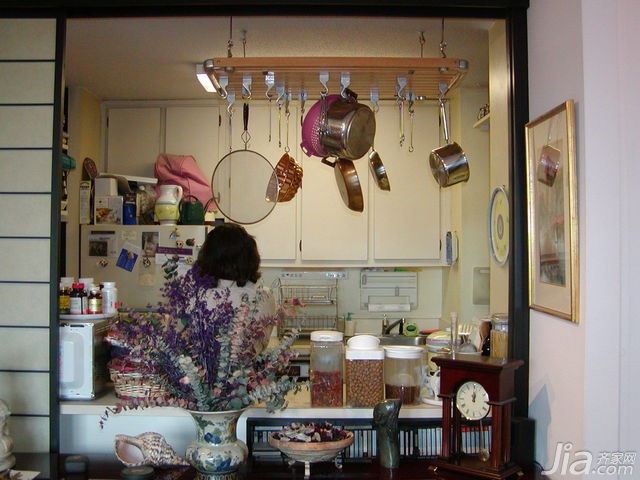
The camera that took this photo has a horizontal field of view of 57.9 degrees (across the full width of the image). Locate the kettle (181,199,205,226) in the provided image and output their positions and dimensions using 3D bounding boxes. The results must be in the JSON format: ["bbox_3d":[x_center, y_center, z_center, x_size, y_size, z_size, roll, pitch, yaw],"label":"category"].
[{"bbox_3d":[-0.828,-0.176,3.794,0.165,0.195,0.110,-2,3,-25],"label":"kettle"}]

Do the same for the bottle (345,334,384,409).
[{"bbox_3d":[0.185,0.548,2.414,0.158,0.294,0.190,-1,-8,6],"label":"bottle"}]

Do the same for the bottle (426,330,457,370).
[{"bbox_3d":[0.561,0.509,2.715,0.152,0.181,0.162,-1,-3,12],"label":"bottle"}]

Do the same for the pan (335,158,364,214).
[{"bbox_3d":[0.147,-0.278,3.004,0.051,0.246,0.200,-13,-4,-9],"label":"pan"}]

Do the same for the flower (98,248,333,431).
[{"bbox_3d":[-0.439,0.271,2.253,0.692,0.544,0.732,-1,-10,-9],"label":"flower"}]

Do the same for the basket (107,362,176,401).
[{"bbox_3d":[-0.752,0.583,2.359,0.269,0.130,0.239,4,-4,4],"label":"basket"}]

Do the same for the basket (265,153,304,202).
[{"bbox_3d":[-0.220,-0.293,2.955,0.053,0.241,0.208,14,-44,16],"label":"basket"}]

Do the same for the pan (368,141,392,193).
[{"bbox_3d":[0.323,-0.371,2.949,0.031,0.233,0.139,-10,5,-9],"label":"pan"}]

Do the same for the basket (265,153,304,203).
[{"bbox_3d":[-0.219,-0.294,2.943,0.053,0.244,0.208,15,-39,18],"label":"basket"}]

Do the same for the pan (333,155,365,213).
[{"bbox_3d":[0.172,-0.294,3.013,0.051,0.250,0.193,-11,12,-18],"label":"pan"}]

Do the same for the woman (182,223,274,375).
[{"bbox_3d":[-0.394,0.233,2.662,0.382,0.644,0.256,-3,14,-7],"label":"woman"}]

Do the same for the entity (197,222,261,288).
[{"bbox_3d":[-0.406,0.088,2.573,0.265,0.259,0.281,5,13,-13],"label":"entity"}]
